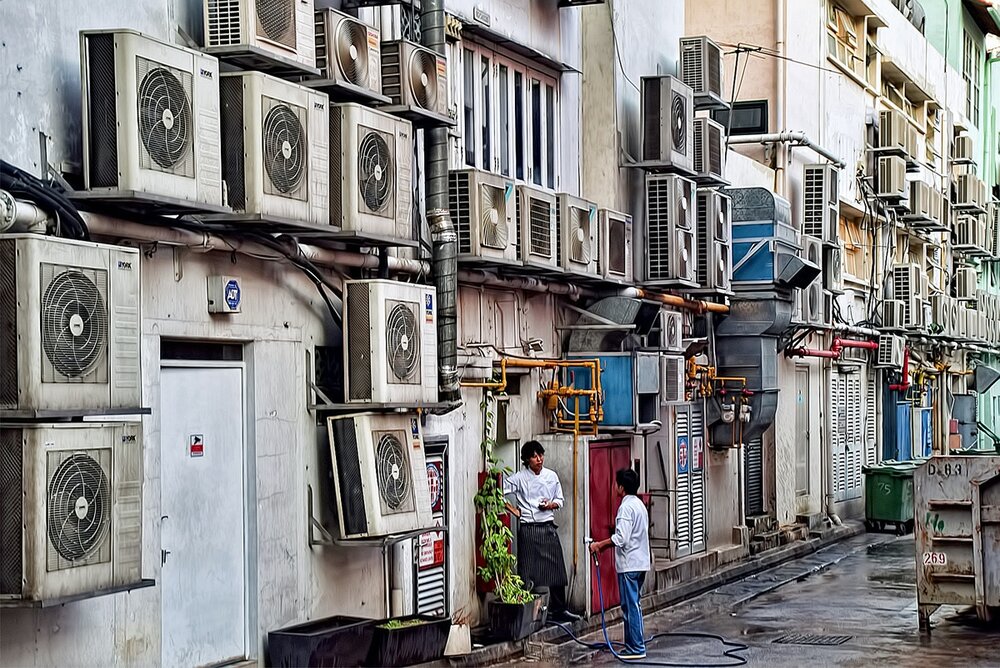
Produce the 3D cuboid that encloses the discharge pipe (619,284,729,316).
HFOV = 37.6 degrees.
[{"bbox_3d":[2.904,-0.621,25.126,0.238,0.282,3.105,19,5,32],"label":"discharge pipe"}]

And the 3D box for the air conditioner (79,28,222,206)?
[{"bbox_3d":[-3.681,-2.206,15.659,0.507,1.761,1.611,-3,-2,26],"label":"air conditioner"}]

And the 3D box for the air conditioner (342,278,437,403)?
[{"bbox_3d":[-1.406,0.071,17.927,0.429,1.376,1.193,-6,-9,33],"label":"air conditioner"}]

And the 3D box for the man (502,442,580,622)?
[{"bbox_3d":[0.474,2.752,20.984,0.920,2.565,0.677,-4,18,-5],"label":"man"}]

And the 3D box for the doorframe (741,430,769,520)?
[{"bbox_3d":[5.176,2.856,29.998,0.182,2.124,1.612,-3,-4,25],"label":"doorframe"}]

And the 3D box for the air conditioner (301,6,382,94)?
[{"bbox_3d":[-1.909,-3.290,17.316,0.372,0.965,1.022,-5,-10,27],"label":"air conditioner"}]

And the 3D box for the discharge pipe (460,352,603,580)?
[{"bbox_3d":[0.532,1.972,22.572,2.112,3.175,1.657,-4,-4,31],"label":"discharge pipe"}]

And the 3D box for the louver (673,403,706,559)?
[{"bbox_3d":[3.298,2.589,25.867,0.164,3.113,2.370,0,-2,20],"label":"louver"}]

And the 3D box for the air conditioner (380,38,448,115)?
[{"bbox_3d":[-1.058,-3.181,18.421,0.979,0.851,0.346,2,-6,-40],"label":"air conditioner"}]

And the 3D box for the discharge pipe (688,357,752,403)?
[{"bbox_3d":[3.977,0.937,27.616,1.256,0.869,0.275,2,-29,11],"label":"discharge pipe"}]

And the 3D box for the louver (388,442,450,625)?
[{"bbox_3d":[-1.086,2.537,19.630,1.123,2.520,0.231,-5,1,30],"label":"louver"}]

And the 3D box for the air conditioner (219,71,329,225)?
[{"bbox_3d":[-2.584,-2.056,16.380,0.472,1.580,1.422,-1,-6,32],"label":"air conditioner"}]

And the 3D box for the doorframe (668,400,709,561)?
[{"bbox_3d":[3.267,2.542,25.804,0.193,3.245,2.496,1,-1,20],"label":"doorframe"}]

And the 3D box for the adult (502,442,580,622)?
[{"bbox_3d":[0.456,2.754,20.975,0.958,2.579,0.660,-5,16,-4],"label":"adult"}]

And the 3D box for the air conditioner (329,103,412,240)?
[{"bbox_3d":[-1.601,-1.916,17.564,0.468,1.477,1.337,-3,-7,23],"label":"air conditioner"}]

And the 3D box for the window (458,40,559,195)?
[{"bbox_3d":[0.045,-3.182,21.469,0.217,1.726,2.217,1,-3,29],"label":"window"}]

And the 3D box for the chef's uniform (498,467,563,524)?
[{"bbox_3d":[0.394,2.291,21.057,1.013,1.061,0.595,4,-9,-26],"label":"chef's uniform"}]

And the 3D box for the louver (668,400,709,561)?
[{"bbox_3d":[3.267,2.542,25.804,0.193,3.245,2.496,1,-1,20],"label":"louver"}]

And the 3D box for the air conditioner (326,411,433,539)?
[{"bbox_3d":[-1.533,1.687,17.802,0.465,1.376,1.259,-12,-9,29],"label":"air conditioner"}]

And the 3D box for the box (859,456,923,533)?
[{"bbox_3d":[8.815,3.693,34.056,0.981,1.611,1.596,0,-3,3],"label":"box"}]

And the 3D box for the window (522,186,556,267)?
[{"bbox_3d":[0.524,-1.511,21.019,0.405,1.086,0.937,-3,-7,23],"label":"window"}]
